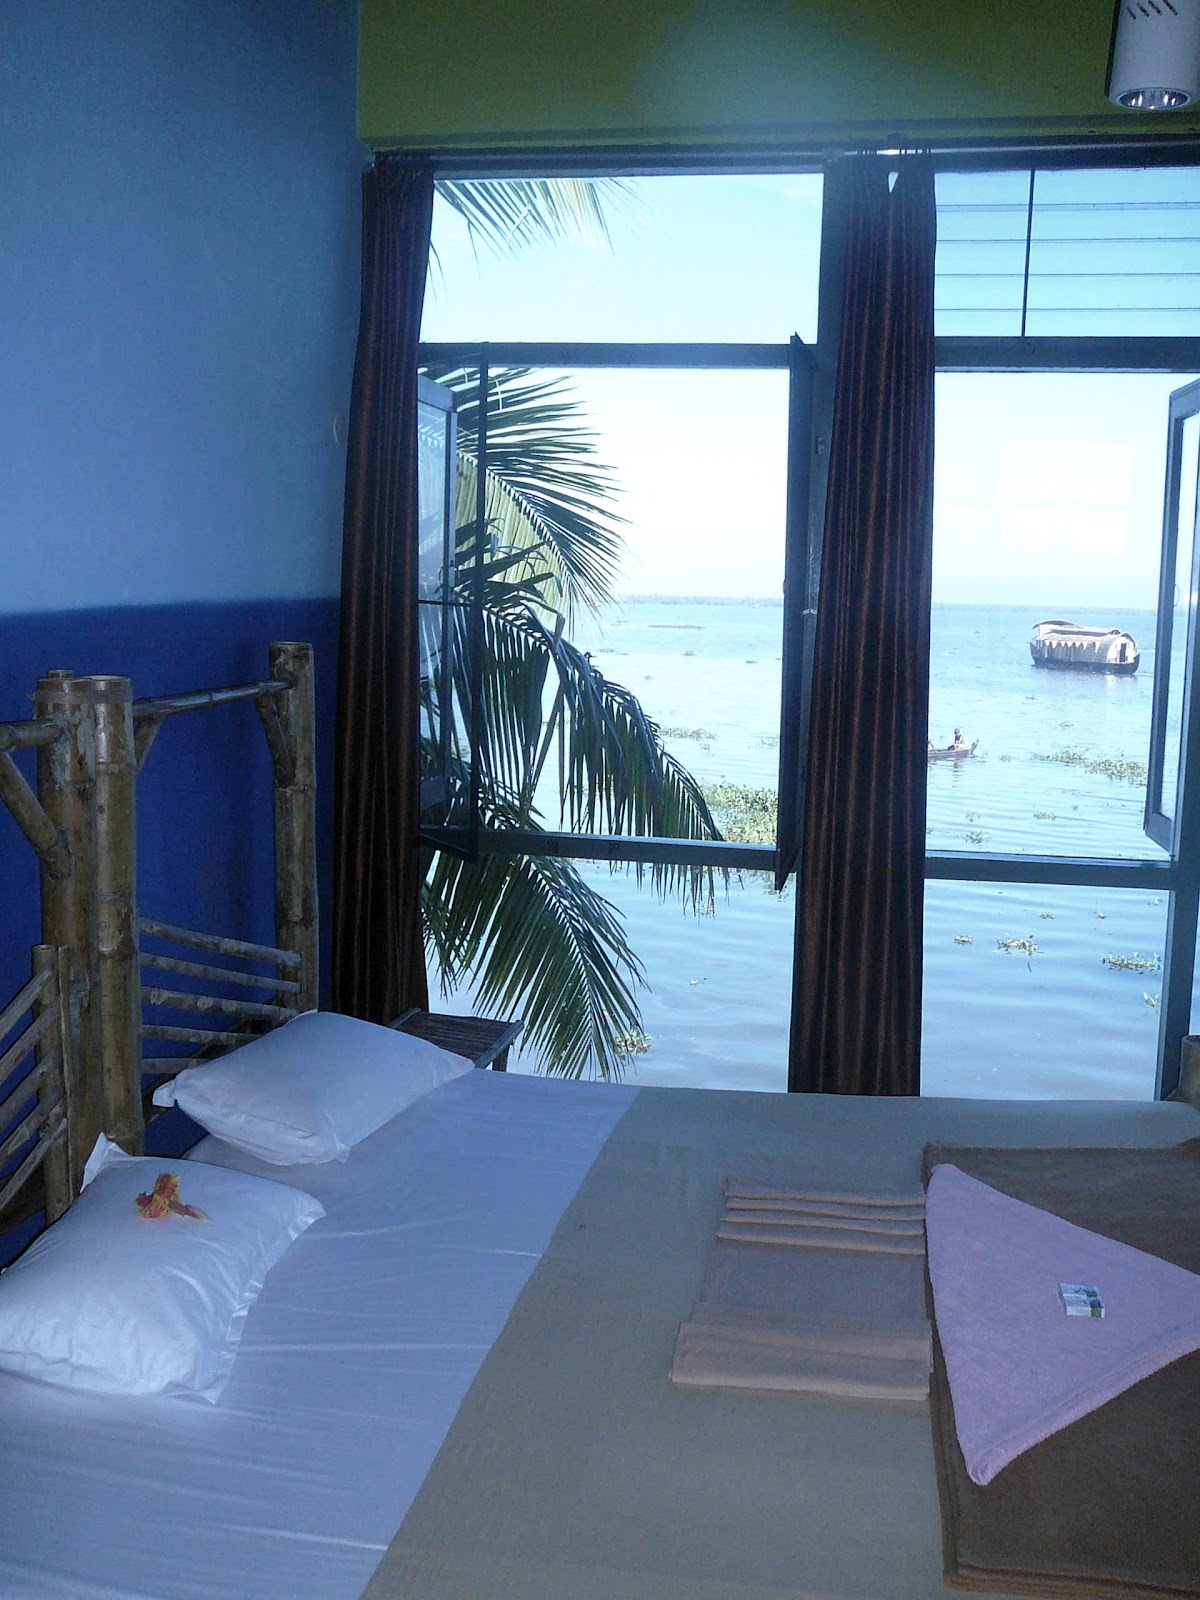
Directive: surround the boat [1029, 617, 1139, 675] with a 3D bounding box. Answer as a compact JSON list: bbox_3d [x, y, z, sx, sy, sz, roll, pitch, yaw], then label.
[{"bbox_3d":[4.295,-1.372,11.487,0.710,0.312,0.518,6,22,14],"label":"boat"}]
